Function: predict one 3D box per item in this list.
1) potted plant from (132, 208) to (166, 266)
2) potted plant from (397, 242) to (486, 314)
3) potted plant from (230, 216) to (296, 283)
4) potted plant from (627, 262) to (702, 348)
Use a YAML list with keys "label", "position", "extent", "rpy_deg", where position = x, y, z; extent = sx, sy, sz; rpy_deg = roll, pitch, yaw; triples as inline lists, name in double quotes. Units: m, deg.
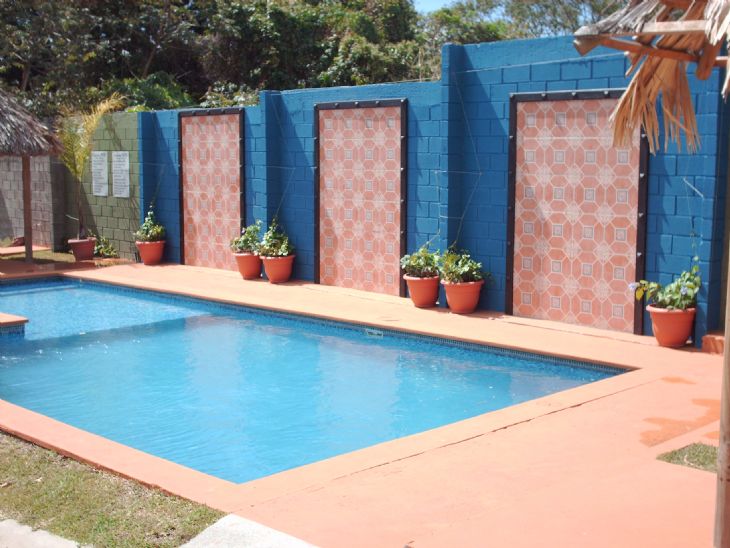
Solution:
- label: "potted plant"
  position: [-4.491, -0.799, 15.807]
  extent: [0.595, 1.190, 0.614]
  rpy_deg: [-5, 9, -34]
- label: "potted plant"
  position: [1.171, 0.074, 11.198]
  extent: [1.198, 0.916, 0.597]
  rpy_deg: [5, 9, 37]
- label: "potted plant"
  position: [-1.816, -0.429, 13.704]
  extent: [1.157, 1.100, 0.597]
  rpy_deg: [5, 9, 37]
- label: "potted plant"
  position: [3.726, 0.375, 9.387]
  extent: [0.847, 1.064, 0.857]
  rpy_deg: [-2, 2, -13]
